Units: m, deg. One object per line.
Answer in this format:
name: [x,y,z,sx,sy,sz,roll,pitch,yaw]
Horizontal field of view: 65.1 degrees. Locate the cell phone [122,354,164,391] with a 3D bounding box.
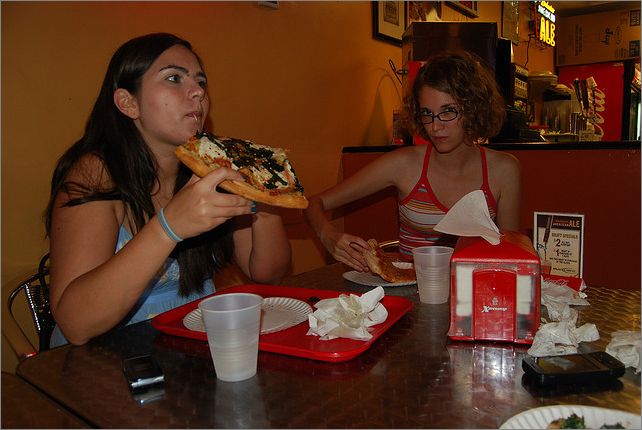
cell phone: [-0.567,0.503,1.615,0.105,0.032,0.133,-5,18,-37]

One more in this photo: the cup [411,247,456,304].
cup: [0.455,0.247,2.042,0.163,0.188,0.167,-1,-3,0]

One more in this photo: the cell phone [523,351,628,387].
cell phone: [0.783,0.474,1.560,0.222,0.047,0.122,-3,11,-7]

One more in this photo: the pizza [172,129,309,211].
pizza: [-0.332,-0.198,2.149,0.438,0.091,0.387,21,26,-28]

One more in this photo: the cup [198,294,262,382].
cup: [-0.270,0.389,1.692,0.234,0.257,0.242,-1,1,0]

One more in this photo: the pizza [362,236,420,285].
pizza: [0.306,0.209,2.358,0.251,0.107,0.334,43,11,33]

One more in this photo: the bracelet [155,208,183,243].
bracelet: [-0.560,0.040,1.856,0.094,0.131,0.030,1,11,14]

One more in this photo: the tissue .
tissue : [0.593,0.195,1.839,0.391,0.450,0.384,2,2,-8]
